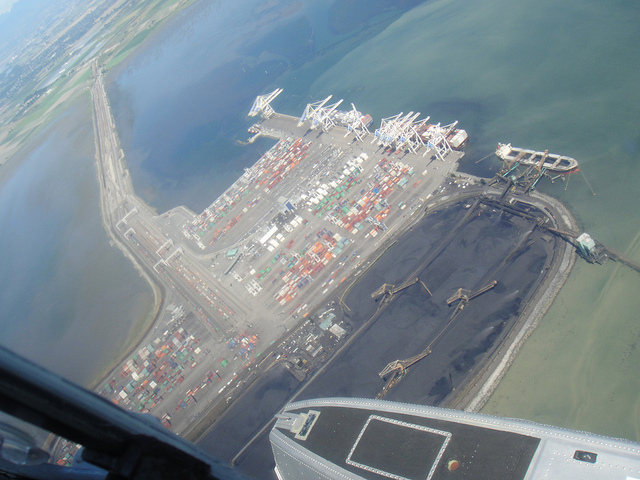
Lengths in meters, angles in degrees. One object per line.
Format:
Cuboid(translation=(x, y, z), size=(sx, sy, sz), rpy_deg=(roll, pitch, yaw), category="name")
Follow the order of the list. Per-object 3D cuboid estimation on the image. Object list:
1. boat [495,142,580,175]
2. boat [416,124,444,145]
Cuboid(translation=(79.048, -28.544, 238.931), size=(30.827, 10.957, 10.478), rpy_deg=(15, 64, 21), category="boat")
Cuboid(translation=(44.311, -41.483, 256.029), size=(7.841, 2.222, 8.168), rpy_deg=(24, 76, 31), category="boat")
